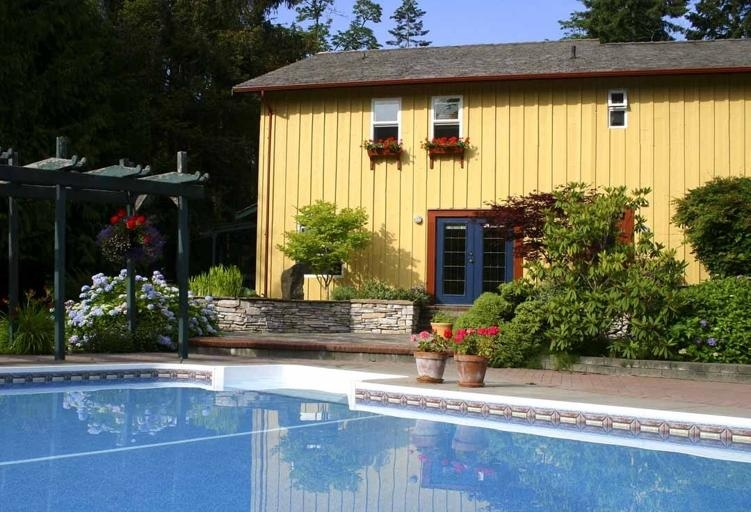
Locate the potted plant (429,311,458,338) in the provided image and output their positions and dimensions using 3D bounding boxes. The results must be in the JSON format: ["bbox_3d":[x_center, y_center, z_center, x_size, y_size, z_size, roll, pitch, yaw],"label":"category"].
[{"bbox_3d":[1.476,1.543,18.742,0.451,0.444,0.434,-3,-7,44],"label":"potted plant"}]

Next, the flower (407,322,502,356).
[{"bbox_3d":[1.450,1.532,14.773,1.213,0.466,0.870,-4,-1,24],"label":"flower"}]
